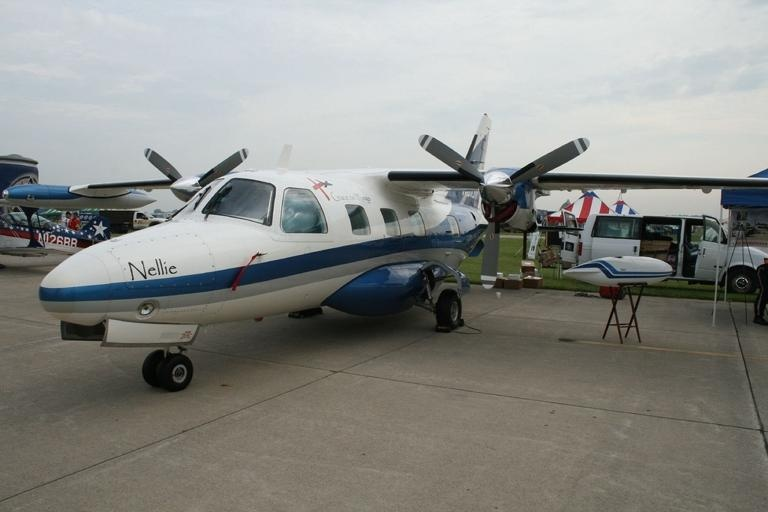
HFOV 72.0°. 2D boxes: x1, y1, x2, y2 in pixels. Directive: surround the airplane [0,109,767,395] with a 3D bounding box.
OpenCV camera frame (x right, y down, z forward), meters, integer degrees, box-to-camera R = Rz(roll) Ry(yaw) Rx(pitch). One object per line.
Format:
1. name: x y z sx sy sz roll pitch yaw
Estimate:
1. airplane: 0.776 -0.205 9.121 10.853 3.664 7.564 -2 13 -12
